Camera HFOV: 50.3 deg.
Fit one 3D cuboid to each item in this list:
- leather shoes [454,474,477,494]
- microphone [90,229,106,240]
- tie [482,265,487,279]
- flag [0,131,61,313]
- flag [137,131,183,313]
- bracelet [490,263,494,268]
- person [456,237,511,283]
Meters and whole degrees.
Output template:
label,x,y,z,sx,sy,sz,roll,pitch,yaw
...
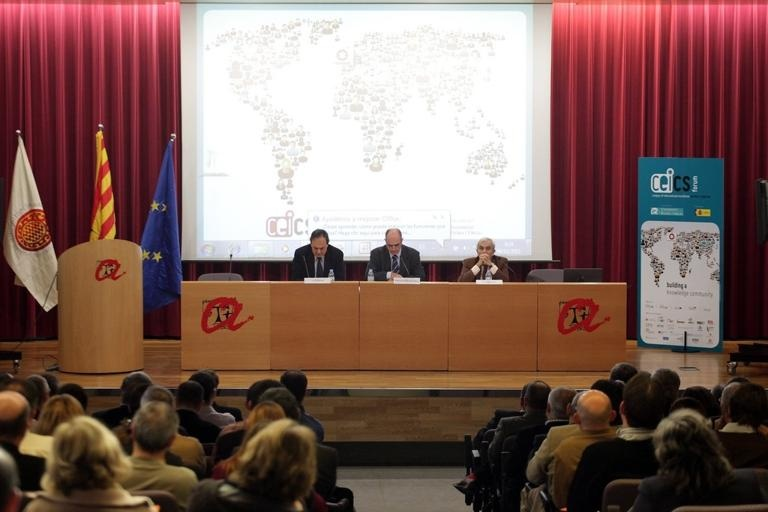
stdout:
label,x,y,z,sx,sy,sz,roll,pitch,yaw
leather shoes,0.679,1.929,6.881,0.099,0.090,0.291,-2,-1,-4
microphone,-3.413,-0.268,9.814,0.080,0.088,0.099,-10,-37,4
tie,1.099,0.178,8.952,0.041,0.133,0.088,4,-5,4
flag,-4.310,-0.457,9.939,0.634,2.227,0.419,-1,-2,18
flag,-2.793,-0.443,10.334,0.472,2.248,0.292,0,-2,-14
bracelet,1.174,0.106,8.920,0.037,0.040,0.010,1,20,10
person,1.091,0.035,8.953,0.512,0.479,0.750,0,-1,6
